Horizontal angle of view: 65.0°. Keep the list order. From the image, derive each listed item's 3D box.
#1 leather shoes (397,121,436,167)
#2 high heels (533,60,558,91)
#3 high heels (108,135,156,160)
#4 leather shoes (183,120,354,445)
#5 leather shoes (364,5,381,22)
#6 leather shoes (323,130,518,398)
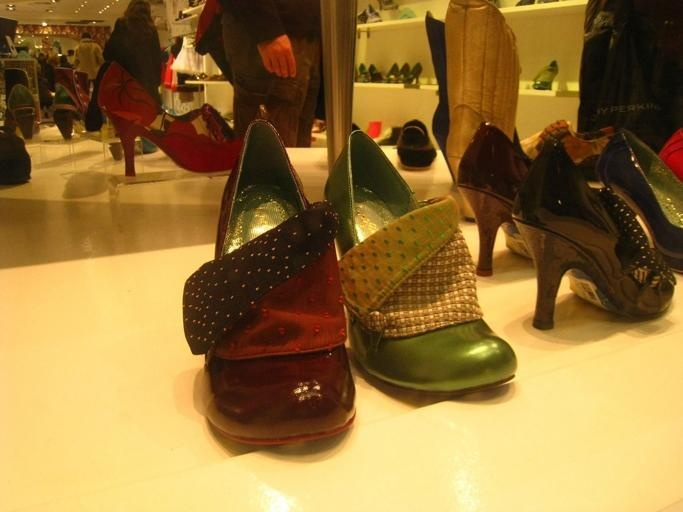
[{"bbox_3d":[0.254,-0.368,1.784,0.076,0.086,0.201,-3,24,4],"label":"leather shoes"},{"bbox_3d":[0.895,-0.790,2.342,0.092,0.117,0.196,6,23,27],"label":"high heels"},{"bbox_3d":[-0.505,-0.276,1.320,0.036,0.050,0.123,27,35,29],"label":"high heels"},{"bbox_3d":[-0.119,0.016,0.851,0.206,0.206,0.526,-3,50,-8],"label":"leather shoes"},{"bbox_3d":[0.187,-1.468,3.214,0.066,0.062,0.204,-10,35,8],"label":"leather shoes"},{"bbox_3d":[0.087,0.006,0.943,0.209,0.206,0.519,-12,48,-14],"label":"leather shoes"}]
